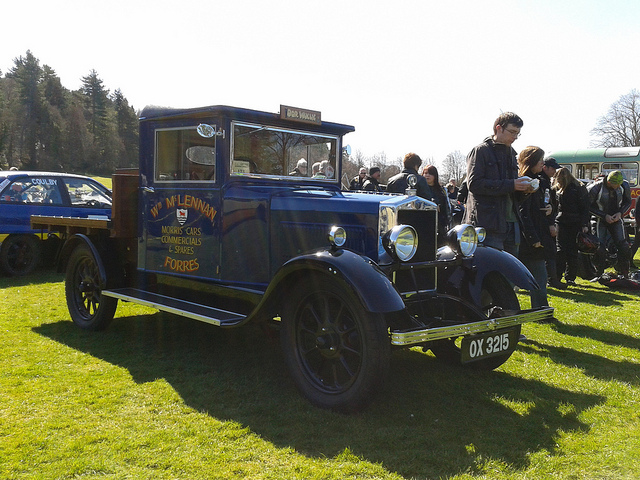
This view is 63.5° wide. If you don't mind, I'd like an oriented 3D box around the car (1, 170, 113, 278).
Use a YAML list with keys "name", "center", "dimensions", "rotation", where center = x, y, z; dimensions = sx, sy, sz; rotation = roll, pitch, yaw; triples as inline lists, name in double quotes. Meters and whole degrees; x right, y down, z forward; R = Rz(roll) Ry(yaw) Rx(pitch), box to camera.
- name: "car"
  center: [-5.393, -0.423, 11.039]
  dimensions: [1.879, 2.060, 3.521]
  rotation: [4, 7, 43]

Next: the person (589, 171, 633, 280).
- name: "person"
  center: [5.707, -0.364, 10.088]
  dimensions: [0.822, 1.970, 0.902]
  rotation: [6, 11, 30]

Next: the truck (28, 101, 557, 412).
- name: "truck"
  center: [-0.446, -0.009, 6.233]
  dimensions: [5.402, 2.989, 2.927]
  rotation: [7, 9, 38]
